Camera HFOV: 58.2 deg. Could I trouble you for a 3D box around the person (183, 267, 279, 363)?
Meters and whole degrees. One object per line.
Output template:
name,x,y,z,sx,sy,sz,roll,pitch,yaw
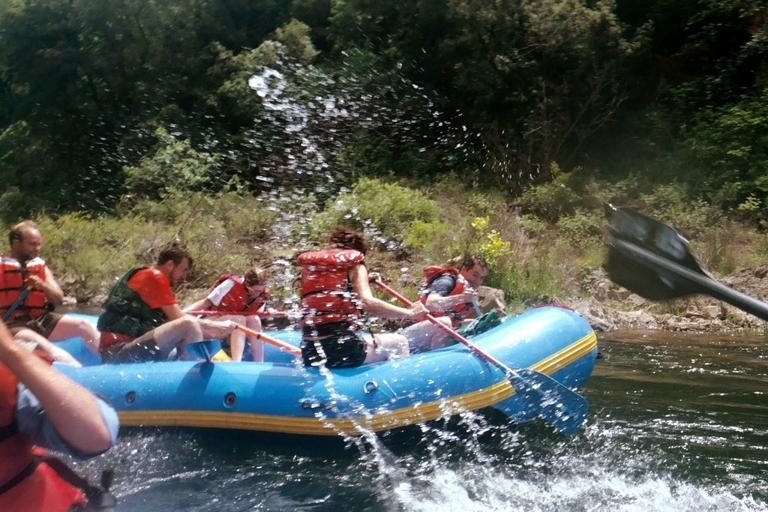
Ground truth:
person,-1.829,0.744,8.465,0.642,0.658,0.810,-24,26,23

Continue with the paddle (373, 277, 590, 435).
paddle,1.040,1.141,7.566,2.923,0.412,0.136,33,9,13
